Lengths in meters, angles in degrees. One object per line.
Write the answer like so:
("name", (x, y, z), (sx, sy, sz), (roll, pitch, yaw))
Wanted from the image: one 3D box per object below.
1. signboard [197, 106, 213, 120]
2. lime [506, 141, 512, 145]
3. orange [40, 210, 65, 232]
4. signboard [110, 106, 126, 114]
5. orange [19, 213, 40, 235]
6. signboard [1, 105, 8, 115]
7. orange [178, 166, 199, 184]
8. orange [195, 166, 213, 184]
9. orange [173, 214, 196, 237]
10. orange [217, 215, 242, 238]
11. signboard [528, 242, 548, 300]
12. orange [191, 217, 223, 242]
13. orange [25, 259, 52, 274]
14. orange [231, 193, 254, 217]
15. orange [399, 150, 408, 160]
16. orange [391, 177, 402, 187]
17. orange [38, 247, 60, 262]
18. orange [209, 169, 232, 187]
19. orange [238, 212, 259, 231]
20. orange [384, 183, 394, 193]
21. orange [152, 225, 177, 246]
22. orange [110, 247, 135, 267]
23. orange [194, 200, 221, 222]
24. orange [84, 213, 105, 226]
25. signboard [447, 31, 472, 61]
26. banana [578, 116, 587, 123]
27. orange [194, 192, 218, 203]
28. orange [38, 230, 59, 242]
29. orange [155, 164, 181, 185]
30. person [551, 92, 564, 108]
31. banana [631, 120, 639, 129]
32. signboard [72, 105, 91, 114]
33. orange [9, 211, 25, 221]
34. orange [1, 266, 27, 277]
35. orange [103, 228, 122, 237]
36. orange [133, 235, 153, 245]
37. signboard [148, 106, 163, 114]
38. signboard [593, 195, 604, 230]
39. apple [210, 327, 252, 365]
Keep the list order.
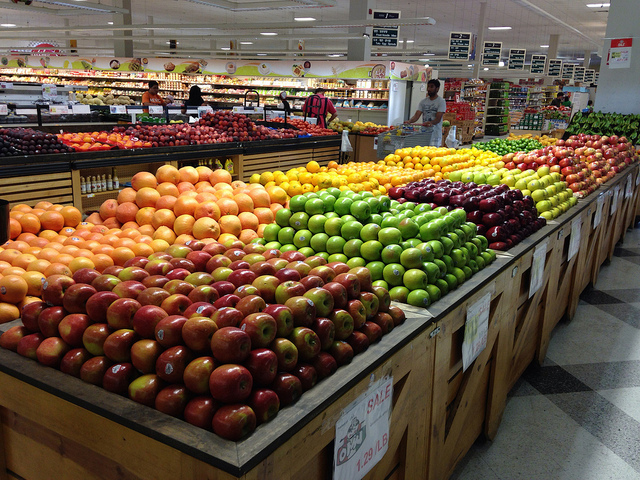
("signboard", (-2.335, -2.608, 7.875), (0.270, 0.188, 2.030), (-6, 20, -15))
("lime", (2.843, -1.462, 5.860), (0.090, 0.070, 0.075), (7, 14, 29))
("orange", (-1.494, -0.103, 2.170), (0.133, 0.103, 0.111), (20, 31, 6))
("signboard", (-3.468, -2.250, 6.687), (0.239, 0.106, 0.235), (-13, 23, -31))
("orange", (-1.582, -0.083, 2.128), (0.089, 0.104, 0.084), (-19, 27, -39))
("signboard", (-5.021, -2.078, 6.186), (0.071, 0.141, 0.777), (-15, 25, -33))
("orange", (-0.878, -0.426, 2.597), (0.135, 0.106, 0.166), (-6, 21, -16))
("orange", (-0.815, -0.447, 2.752), (0.143, 0.111, 0.117), (-2, 23, -43))
("orange", (-0.752, -0.082, 2.224), (0.132, 0.103, 0.112), (7, 5, 1))
("orange", (-0.490, -0.086, 2.201), (0.124, 0.116, 0.139), (-1, 25, -5))
("signboard", (1.459, 0.200, 2.615), (0.005, 0.346, 0.372), (15, 25, 36))
("orange", (-0.608, -0.058, 2.143), (0.158, 0.125, 0.128), (-3, 22, 19))
("orange", (-1.253, 0.115, 1.746), (0.083, 0.056, 0.074), (-1, 16, 0))
("orange", (-0.449, -0.210, 2.398), (0.122, 0.119, 0.140), (-15, -20, 12))
("orange", (0.872, -0.890, 4.049), (0.096, 0.104, 0.094), (-14, 12, -35))
("orange", (0.630, -0.484, 3.256), (0.073, 0.066, 0.079), (-10, -2, -29))
("orange", (-1.298, 0.076, 1.869), (0.071, 0.051, 0.070), (-22, -20, 16))
("orange", (-0.694, -0.451, 2.708), (0.152, 0.120, 0.122), (2, 33, -21))
("orange", (-0.417, -0.110, 2.271), (0.109, 0.106, 0.113), (1, 40, -14))
("orange", (0.559, -0.420, 3.129), (0.085, 0.065, 0.069), (0, -13, -35))
("orange", (-0.838, -0.013, 2.189), (0.127, 0.106, 0.105), (28, 6, 17))
("orange", (-0.934, 0.073, 1.859), (0.111, 0.086, 0.091), (6, 12, -3))
("orange", (-0.627, -0.162, 2.187), (0.149, 0.114, 0.117), (0, 8, -5))
("orange", (-1.387, -0.131, 2.386), (0.087, 0.041, 0.086), (8, 13, 24))
("signboard", (5.699, -7.964, 15.907), (0.799, 1.068, 0.921), (5, 21, 15))
("banana", (5.291, -2.430, 7.827), (0.112, 0.043, 0.172), (22, 66, 44))
("orange", (-0.672, -0.252, 2.310), (0.102, 0.078, 0.083), (0, 6, 19))
("orange", (-1.470, -0.016, 2.112), (0.085, 0.067, 0.072), (9, 5, 40))
("orange", (-1.011, -0.433, 2.558), (0.143, 0.122, 0.139), (-10, 3, 13))
("person", (11.795, -6.973, 19.358), (0.386, 0.684, 1.114), (10, 23, 26))
("banana", (5.860, -2.151, 7.241), (0.118, 0.142, 0.120), (10, 23, 25))
("signboard", (-3.753, -2.061, 6.113), (0.202, 0.045, 0.208), (-8, 27, -33))
("orange", (-1.667, -0.137, 2.138), (0.075, 0.059, 0.063), (7, 3, 21))
("orange", (-1.344, 0.137, 1.705), (0.059, 0.029, 0.056), (1, 3, -12))
("orange", (-1.130, -0.046, 2.132), (0.065, 0.039, 0.074), (0, 7, 0))
("orange", (-0.925, 0.003, 2.043), (0.060, 0.031, 0.061), (4, -3, -36))
("signboard", (-2.959, -2.385, 7.089), (0.194, 0.112, 0.375), (6, 21, 17))
("signboard", (2.940, -0.302, 4.116), (0.013, 0.310, 0.336), (10, 23, 44))
("apple", (-0.227, 0.270, 0.970), (0.099, 0.081, 0.068), (1, 21, 3))
